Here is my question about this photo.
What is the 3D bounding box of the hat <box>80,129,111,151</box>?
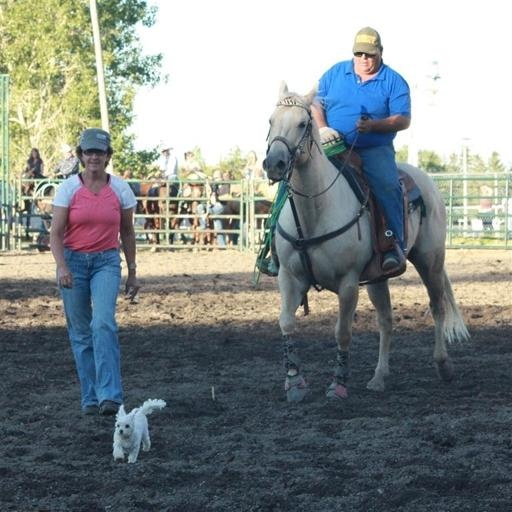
[{"bbox_3d":[-1.261,-0.901,7.692,0.237,0.186,0.282,-2,5,-12],"label":"hat"}]

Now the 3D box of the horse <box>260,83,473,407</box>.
[{"bbox_3d":[1.018,0.042,9.066,0.828,2.684,3.858,-1,-1,36],"label":"horse"}]

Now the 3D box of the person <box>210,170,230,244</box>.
[{"bbox_3d":[-0.810,-1.035,21.937,0.456,1.688,1.677,-1,4,-2],"label":"person"}]

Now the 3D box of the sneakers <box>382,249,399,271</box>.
[{"bbox_3d":[1.129,0.043,8.314,0.100,0.079,0.151,-25,29,24],"label":"sneakers"}]

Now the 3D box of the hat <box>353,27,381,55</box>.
[{"bbox_3d":[0.968,-1.864,8.601,0.248,0.237,0.150,0,4,5],"label":"hat"}]

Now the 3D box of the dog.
[{"bbox_3d":[-0.868,1.242,6.998,0.244,0.412,0.413,2,5,38],"label":"dog"}]

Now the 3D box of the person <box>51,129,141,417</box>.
[{"bbox_3d":[-1.269,0.118,7.784,0.629,2.226,0.734,-1,4,2],"label":"person"}]
